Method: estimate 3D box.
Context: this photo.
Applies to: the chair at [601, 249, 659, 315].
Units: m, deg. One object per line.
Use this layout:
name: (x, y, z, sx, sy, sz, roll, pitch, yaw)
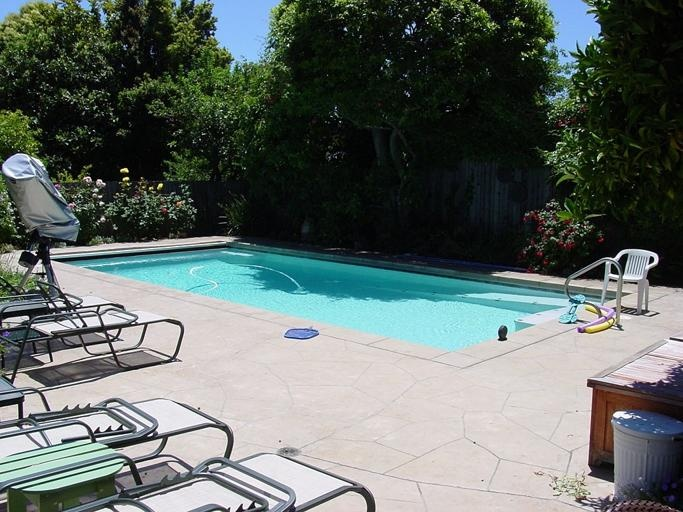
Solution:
chair: (4.440, 0.345, 8.205, 0.705, 0.744, 0.705, -8, 13, -29)
